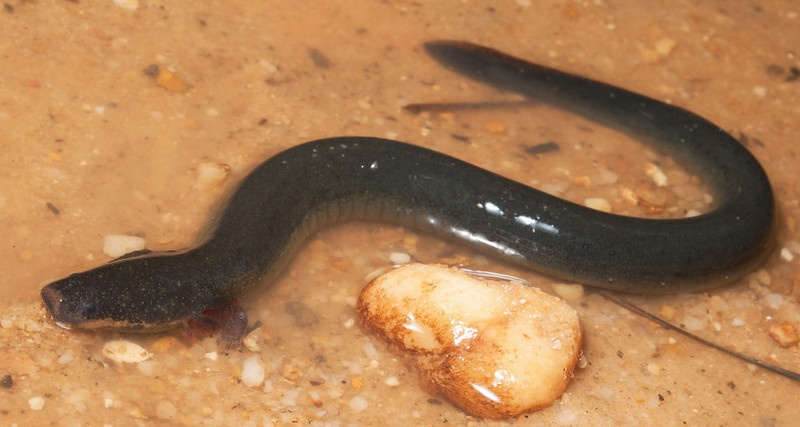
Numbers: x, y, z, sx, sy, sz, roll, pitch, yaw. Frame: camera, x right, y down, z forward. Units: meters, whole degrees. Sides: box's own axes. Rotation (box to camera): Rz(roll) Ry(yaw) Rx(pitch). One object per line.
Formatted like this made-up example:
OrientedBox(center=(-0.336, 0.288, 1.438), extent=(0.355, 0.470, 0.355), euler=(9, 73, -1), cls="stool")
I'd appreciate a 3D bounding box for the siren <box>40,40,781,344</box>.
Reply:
OrientedBox(center=(0.359, -0.212, 7.075), extent=(5.684, 1.123, 2.265), euler=(-7, 78, -1), cls="siren")
